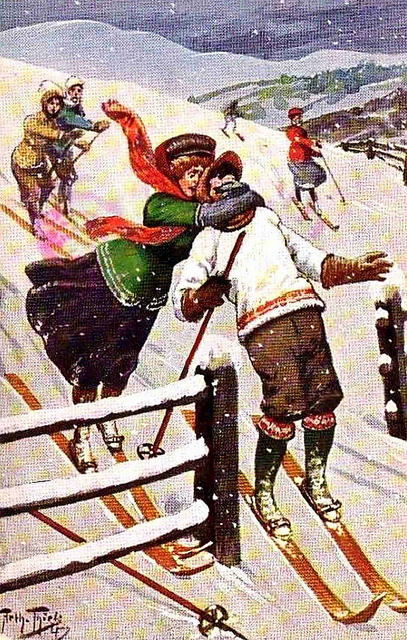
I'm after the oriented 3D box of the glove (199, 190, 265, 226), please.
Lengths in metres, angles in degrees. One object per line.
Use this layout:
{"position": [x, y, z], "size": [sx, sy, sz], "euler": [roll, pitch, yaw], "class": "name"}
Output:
{"position": [0.069, -0.269, 2.153], "size": [0.131, 0.037, 0.090], "euler": [-12, -2, 3], "class": "glove"}
